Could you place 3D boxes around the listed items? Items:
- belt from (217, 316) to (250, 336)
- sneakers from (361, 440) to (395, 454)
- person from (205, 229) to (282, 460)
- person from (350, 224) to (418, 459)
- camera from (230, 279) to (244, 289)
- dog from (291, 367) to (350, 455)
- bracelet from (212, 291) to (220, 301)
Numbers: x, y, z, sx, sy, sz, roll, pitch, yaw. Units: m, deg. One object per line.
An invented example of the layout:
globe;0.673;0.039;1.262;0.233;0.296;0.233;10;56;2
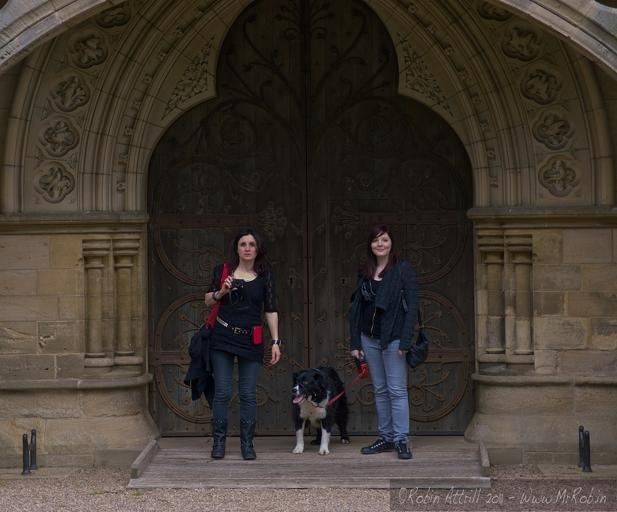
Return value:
belt;-0.587;0.554;7.601;0.155;0.040;0.136;22;-5;18
sneakers;0.540;1.506;7.781;0.309;0.123;0.101;2;-2;-11
person;-0.514;0.699;7.647;0.551;1.757;0.494;-2;-6;-6
person;0.599;0.678;7.633;0.420;1.788;0.565;1;-7;-29
camera;-0.545;0.216;7.556;0.074;0.070;0.030;-2;13;-16
dog;0.085;1.226;7.818;0.376;0.632;0.863;-4;-4;17
bracelet;-0.712;0.314;7.532;0.043;0.055;0.057;0;9;-3
